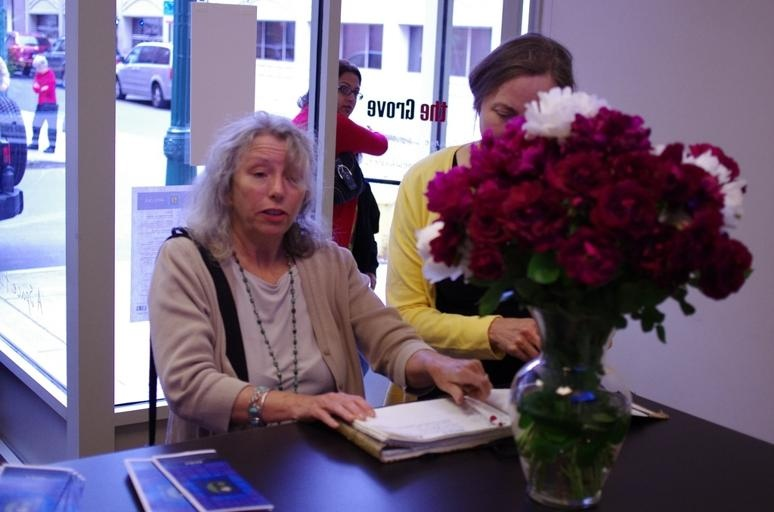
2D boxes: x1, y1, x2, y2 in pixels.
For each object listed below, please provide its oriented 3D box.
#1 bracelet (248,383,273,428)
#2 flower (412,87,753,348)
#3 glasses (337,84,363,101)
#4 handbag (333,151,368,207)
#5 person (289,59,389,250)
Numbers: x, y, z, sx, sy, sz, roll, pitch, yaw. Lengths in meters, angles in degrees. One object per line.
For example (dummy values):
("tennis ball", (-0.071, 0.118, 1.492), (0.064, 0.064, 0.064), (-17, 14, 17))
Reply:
("bracelet", (-0.399, 0.466, 1.899), (0.069, 0.113, 0.101), (5, 51, 5))
("flower", (0.492, -0.087, 1.510), (0.585, 0.596, 0.571), (6, 11, 24))
("glasses", (-0.205, -0.925, 3.466), (0.055, 0.074, 0.215), (5, 9, 23))
("handbag", (-0.218, -0.444, 3.502), (0.145, 0.267, 0.258), (-4, 12, 29))
("person", (-0.263, -0.579, 3.218), (0.430, 1.423, 0.430), (-8, 33, -17))
